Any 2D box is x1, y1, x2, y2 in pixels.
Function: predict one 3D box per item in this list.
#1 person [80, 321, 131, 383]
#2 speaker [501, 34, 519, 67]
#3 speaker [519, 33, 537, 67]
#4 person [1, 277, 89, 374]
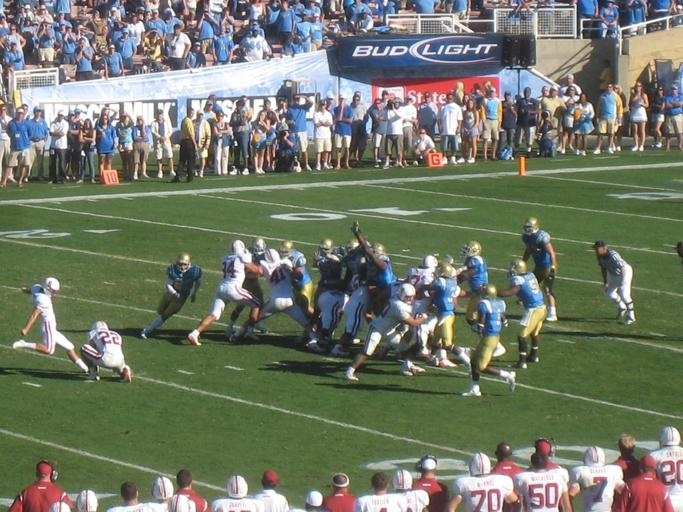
[{"bbox_3d":[-3.958,1.675,27.749,0.687,0.735,1.146,-5,28,-28],"label":"person"},{"bbox_3d":[4.821,-5.853,46.608,0.345,0.889,0.992,-2,5,-5],"label":"speaker"},{"bbox_3d":[5.273,-5.838,46.348,0.407,0.880,0.635,-1,5,11],"label":"speaker"},{"bbox_3d":[-5.042,1.018,28.458,1.752,1.477,1.167,12,8,-6],"label":"person"}]
